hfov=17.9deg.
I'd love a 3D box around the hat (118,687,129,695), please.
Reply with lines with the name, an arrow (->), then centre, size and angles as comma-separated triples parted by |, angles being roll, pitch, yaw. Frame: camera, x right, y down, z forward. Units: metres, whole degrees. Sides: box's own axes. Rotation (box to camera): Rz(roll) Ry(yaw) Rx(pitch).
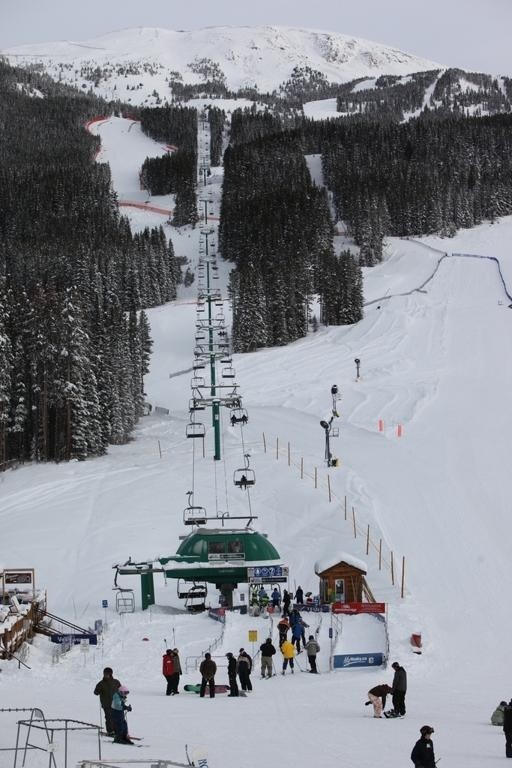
hat -> -2.913, 6.793, 35.835 | 0.199, 0.291, 0.199 | 4, -5, 11

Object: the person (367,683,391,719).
person -> 2.908, 7.476, 38.543 | 0.531, 0.773, 0.893 | -3, 3, -3

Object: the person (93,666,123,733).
person -> -3.212, 7.006, 36.370 | 0.553, 1.729, 0.547 | -3, 22, -6
